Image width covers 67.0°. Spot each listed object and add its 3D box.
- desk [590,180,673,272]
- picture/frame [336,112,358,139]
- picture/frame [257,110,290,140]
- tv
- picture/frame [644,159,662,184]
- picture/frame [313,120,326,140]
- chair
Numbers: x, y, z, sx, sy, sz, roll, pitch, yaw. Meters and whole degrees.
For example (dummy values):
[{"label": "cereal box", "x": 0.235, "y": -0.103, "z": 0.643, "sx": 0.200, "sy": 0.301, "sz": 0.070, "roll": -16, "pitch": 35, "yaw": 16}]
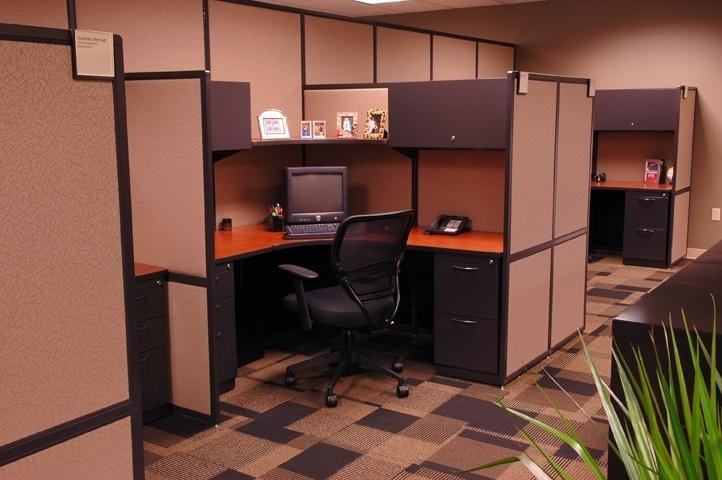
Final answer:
[{"label": "desk", "x": 2.938, "y": -0.169, "z": 6.008, "sx": 0.664, "sy": 0.767, "sz": 0.929, "roll": -4, "pitch": 10, "yaw": -39}, {"label": "picture/frame", "x": -0.093, "y": -0.794, "z": 3.777, "sx": 0.211, "sy": 0.226, "sz": 0.018, "roll": 1, "pitch": 2, "yaw": 25}, {"label": "picture/frame", "x": -0.600, "y": -0.768, "z": 3.651, "sx": 0.030, "sy": 0.180, "sz": 0.239, "roll": -5, "pitch": 2, "yaw": 36}, {"label": "tv", "x": -0.309, "y": -0.282, "z": 3.855, "sx": 0.587, "sy": 0.502, "sz": 0.344, "roll": -2, "pitch": 7, "yaw": -18}, {"label": "picture/frame", "x": 3.197, "y": -0.750, "z": 5.970, "sx": 0.172, "sy": 0.253, "sz": 0.136, "roll": 5, "pitch": 14, "yaw": 25}, {"label": "picture/frame", "x": -0.299, "y": -0.767, "z": 3.806, "sx": 0.094, "sy": 0.126, "sz": 0.044, "roll": 0, "pitch": -2, "yaw": -2}, {"label": "chair", "x": -0.060, "y": 0.352, "z": 3.224, "sx": 0.700, "sy": 1.025, "sz": 0.777, "roll": 4, "pitch": 7, "yaw": 42}]
